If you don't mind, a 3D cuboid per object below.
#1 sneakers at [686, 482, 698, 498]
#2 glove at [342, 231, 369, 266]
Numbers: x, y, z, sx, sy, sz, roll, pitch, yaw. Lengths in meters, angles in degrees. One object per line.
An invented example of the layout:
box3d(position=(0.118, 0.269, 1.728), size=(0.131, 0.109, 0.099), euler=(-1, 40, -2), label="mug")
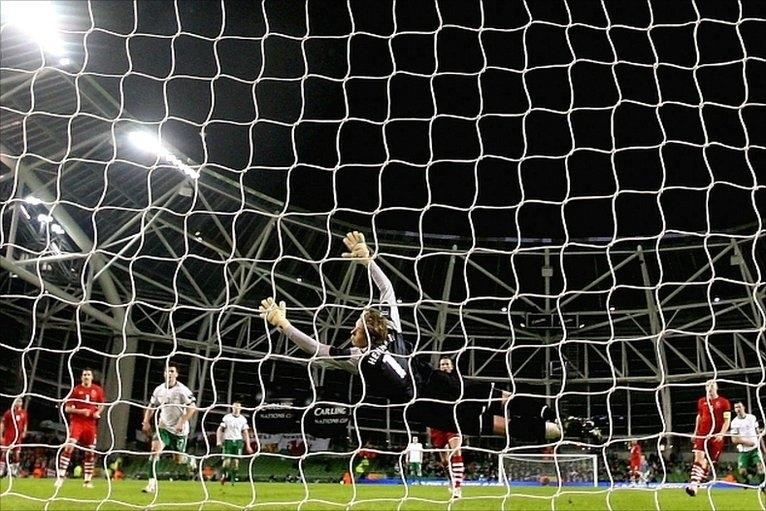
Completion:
box3d(position=(6.713, 5.100, 14.864), size=(0.207, 0.274, 0.614), euler=(-8, -25, 21), label="sneakers")
box3d(position=(-0.462, -0.171, 12.593), size=(0.499, 0.760, 0.541), euler=(5, -24, -7), label="glove")
